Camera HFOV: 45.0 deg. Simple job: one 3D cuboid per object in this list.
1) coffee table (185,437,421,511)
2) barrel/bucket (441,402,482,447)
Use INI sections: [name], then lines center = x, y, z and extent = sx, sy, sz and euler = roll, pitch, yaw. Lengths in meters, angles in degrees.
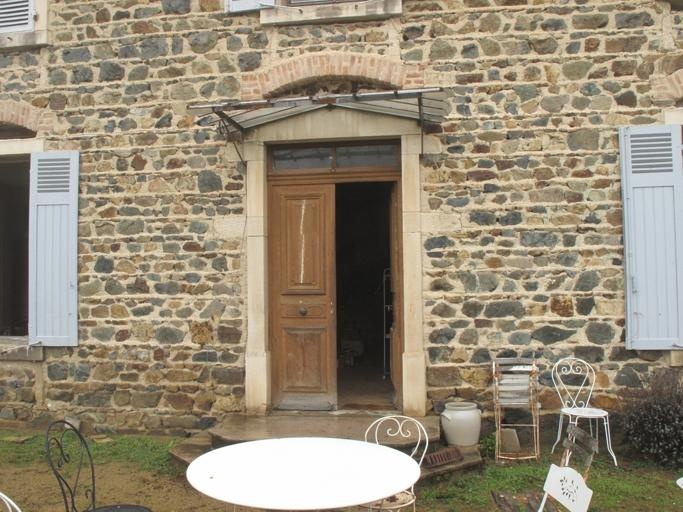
[coffee table]
center = -0.326, 1.762, 6.690
extent = 1.826, 0.421, 0.906
euler = 1, -4, -10
[barrel/bucket]
center = 1.198, 1.710, 8.483
extent = 0.507, 0.338, 0.389
euler = 0, -5, -6
